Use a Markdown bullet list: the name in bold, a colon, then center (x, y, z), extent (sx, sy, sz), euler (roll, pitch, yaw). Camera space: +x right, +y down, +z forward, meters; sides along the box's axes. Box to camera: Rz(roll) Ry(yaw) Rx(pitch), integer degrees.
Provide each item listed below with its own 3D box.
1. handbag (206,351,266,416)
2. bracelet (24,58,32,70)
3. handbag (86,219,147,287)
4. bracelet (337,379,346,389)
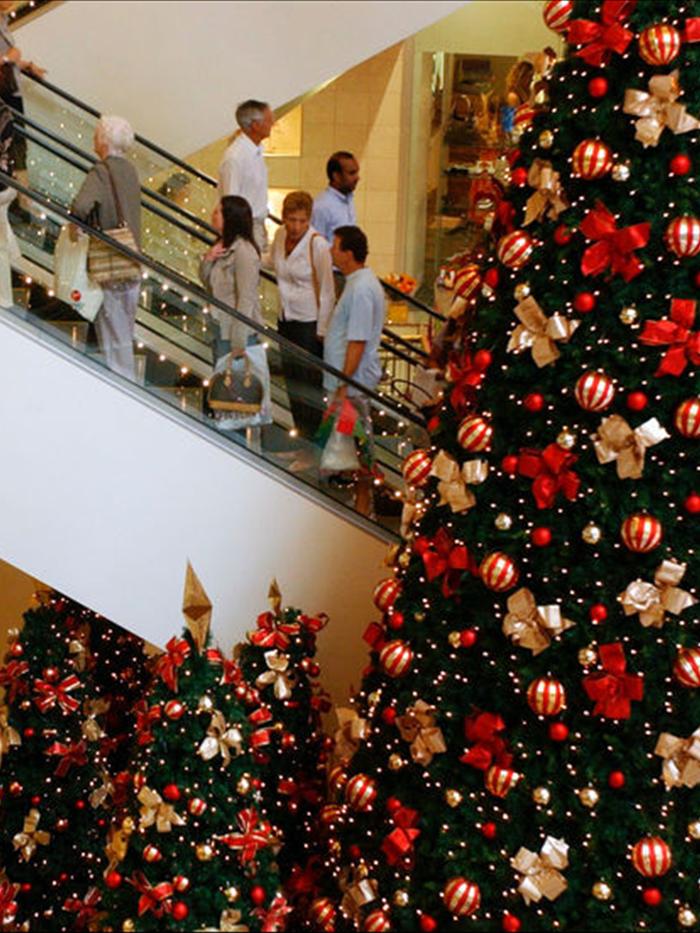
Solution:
- **handbag**: center (-0.403, -0.303, 3.234), extent (0.233, 0.076, 0.282), euler (3, -55, -6)
- **bracelet**: center (-1.644, -2.067, 4.750), extent (0.046, 0.053, 0.017), euler (-1, -15, -36)
- **handbag**: center (-0.821, -0.698, 3.188), extent (0.227, 0.209, 0.072), euler (-9, 5, -14)
- **bracelet**: center (-0.029, -0.289, 3.236), extent (0.025, 0.021, 0.024), euler (-5, 18, -35)
